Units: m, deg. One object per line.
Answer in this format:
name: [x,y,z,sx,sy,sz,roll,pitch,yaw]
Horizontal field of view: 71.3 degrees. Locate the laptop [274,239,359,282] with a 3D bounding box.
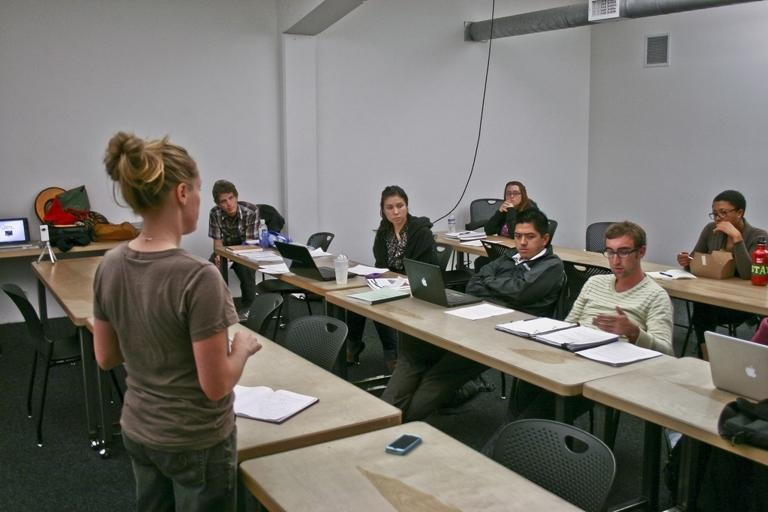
laptop: [-0.629,0.059,4.350,0.416,0.268,0.443,-7,11,-44]

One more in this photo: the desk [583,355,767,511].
desk: [1.332,0.619,2.415,0.655,0.624,0.645,-10,11,-35]

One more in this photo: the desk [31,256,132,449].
desk: [-1.942,0.673,3.392,0.391,0.583,1.191,-6,15,-31]

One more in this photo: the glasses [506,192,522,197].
glasses: [1.510,-0.716,6.265,0.161,0.059,0.087,4,15,20]

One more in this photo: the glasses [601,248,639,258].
glasses: [1.427,-0.025,3.238,0.190,0.070,0.115,8,17,30]
